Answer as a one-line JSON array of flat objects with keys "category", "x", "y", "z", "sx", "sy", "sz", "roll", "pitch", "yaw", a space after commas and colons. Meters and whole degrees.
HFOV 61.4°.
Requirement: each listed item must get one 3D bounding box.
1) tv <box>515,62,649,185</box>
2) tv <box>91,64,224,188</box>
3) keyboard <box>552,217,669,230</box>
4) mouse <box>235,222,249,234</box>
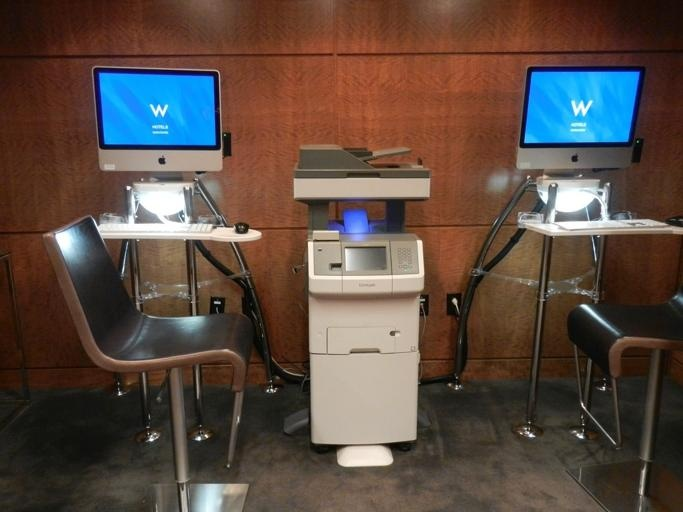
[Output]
[{"category": "tv", "x": 1.544, "y": -0.895, "z": 3.750, "sx": 1.052, "sy": 0.745, "sz": 0.308, "roll": 0, "pitch": 11, "yaw": -4}, {"category": "tv", "x": -1.153, "y": -0.853, "z": 3.636, "sx": 1.031, "sy": 0.708, "sz": 0.300, "roll": -1, "pitch": 7, "yaw": -5}, {"category": "keyboard", "x": 1.629, "y": -0.191, "z": 3.518, "sx": 0.667, "sy": 0.024, "sz": 0.265, "roll": -2, "pitch": 12, "yaw": -5}, {"category": "mouse", "x": -0.603, "y": -0.169, "z": 3.459, "sx": 0.073, "sy": 0.037, "sz": 0.078, "roll": 1, "pitch": 2, "yaw": -2}]
